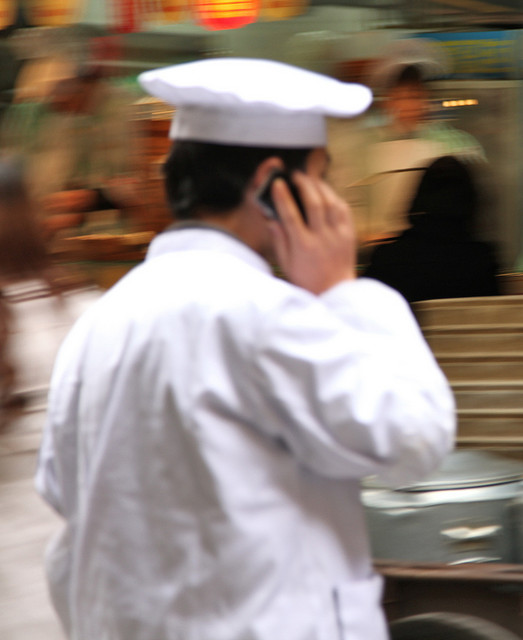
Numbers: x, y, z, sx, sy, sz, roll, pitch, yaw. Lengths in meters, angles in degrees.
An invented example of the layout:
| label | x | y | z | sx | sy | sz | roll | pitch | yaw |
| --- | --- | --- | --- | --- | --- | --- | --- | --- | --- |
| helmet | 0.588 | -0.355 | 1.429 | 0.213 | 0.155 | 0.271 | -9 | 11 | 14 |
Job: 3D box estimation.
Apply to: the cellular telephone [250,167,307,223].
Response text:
| label | x | y | z | sx | sy | sz | roll | pitch | yaw |
| --- | --- | --- | --- | --- | --- | --- | --- | --- | --- |
| cellular telephone | 0.028 | -0.224 | 1.596 | 0.091 | 0.109 | 0.050 | -22 | 44 | -26 |
